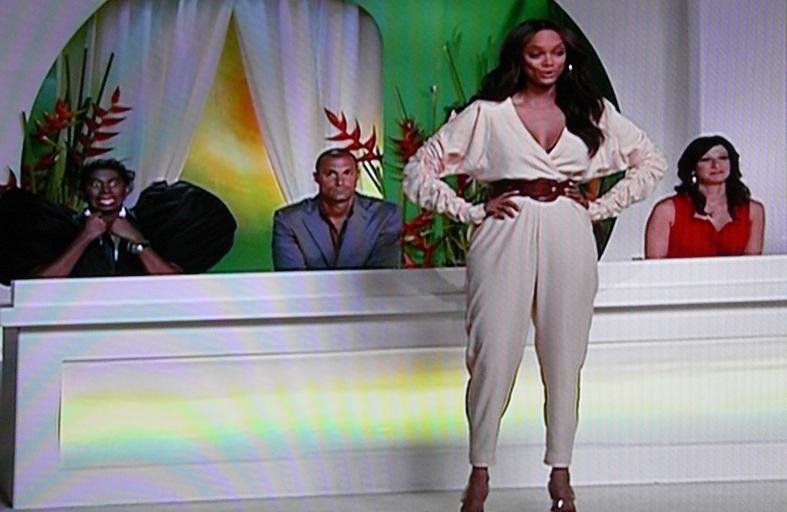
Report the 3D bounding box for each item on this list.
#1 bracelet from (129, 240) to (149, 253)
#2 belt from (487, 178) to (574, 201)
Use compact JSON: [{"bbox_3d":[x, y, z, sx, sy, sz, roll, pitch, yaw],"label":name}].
[{"bbox_3d":[-1.301,-0.056,4.043,0.066,0.044,0.068,14,11,35],"label":"bracelet"},{"bbox_3d":[0.497,-0.230,2.802,0.290,0.088,0.063,-1,-1,8],"label":"belt"}]
